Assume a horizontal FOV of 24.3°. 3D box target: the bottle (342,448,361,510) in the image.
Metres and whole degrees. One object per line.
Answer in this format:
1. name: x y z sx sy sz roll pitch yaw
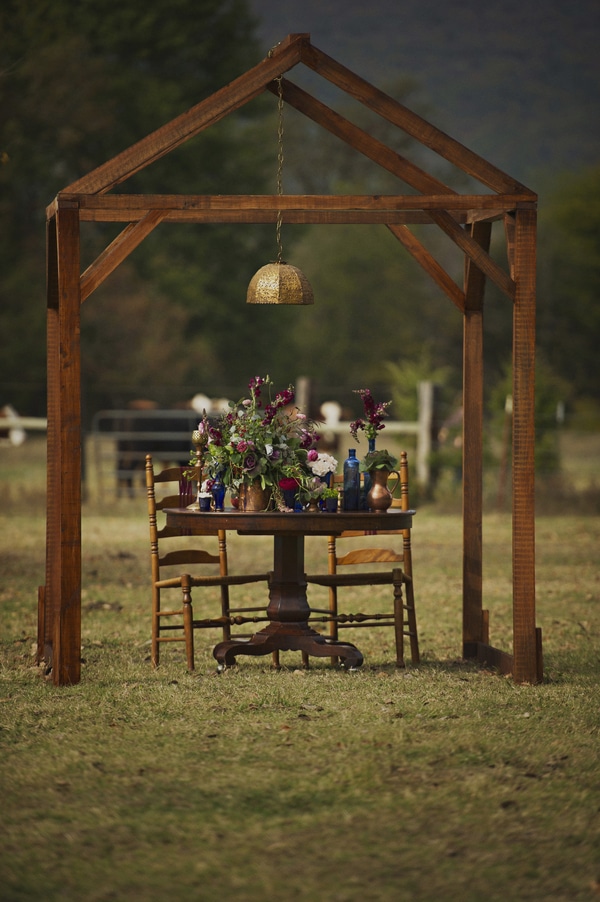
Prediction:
1. bottle: 0.290 0.165 7.928 0.109 0.348 0.297 3 7 1

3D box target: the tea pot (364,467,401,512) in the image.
1. tea pot: 0.467 0.236 8.013 0.247 0.231 0.165 0 -5 10

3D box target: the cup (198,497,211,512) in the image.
1. cup: -0.547 0.301 7.871 0.091 0.081 0.068 4 7 12

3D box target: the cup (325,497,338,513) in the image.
1. cup: 0.173 0.309 7.809 0.079 0.079 0.078 2 -6 0

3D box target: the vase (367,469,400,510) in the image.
1. vase: 0.447 0.232 7.903 0.220 0.265 0.201 -1 0 -22

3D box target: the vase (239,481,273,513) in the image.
1. vase: -0.251 0.274 7.828 0.181 0.153 0.163 0 -1 -5

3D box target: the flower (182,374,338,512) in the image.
1. flower: -0.201 0.042 8.016 0.657 0.640 0.527 11 0 -31
